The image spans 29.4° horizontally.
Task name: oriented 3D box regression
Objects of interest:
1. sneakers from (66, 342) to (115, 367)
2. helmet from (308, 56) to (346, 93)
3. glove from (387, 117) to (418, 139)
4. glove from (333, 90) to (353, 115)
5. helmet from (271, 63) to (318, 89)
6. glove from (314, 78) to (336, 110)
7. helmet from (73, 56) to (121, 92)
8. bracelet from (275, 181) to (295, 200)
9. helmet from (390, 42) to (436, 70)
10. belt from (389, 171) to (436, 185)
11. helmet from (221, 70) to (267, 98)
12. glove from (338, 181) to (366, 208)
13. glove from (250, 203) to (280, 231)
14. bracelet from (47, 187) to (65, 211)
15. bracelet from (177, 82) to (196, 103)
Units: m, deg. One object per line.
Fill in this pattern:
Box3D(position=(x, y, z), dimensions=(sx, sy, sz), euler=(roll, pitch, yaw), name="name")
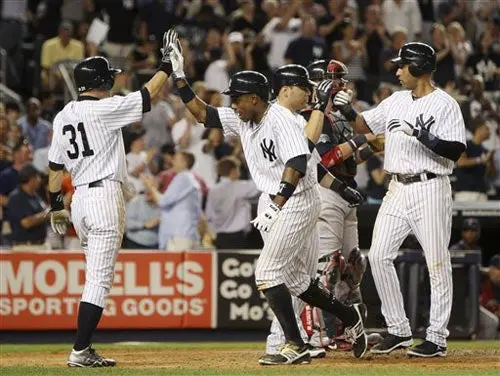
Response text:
Box3D(position=(-1.752, 1.864, 10.497), dimensions=(0.565, 0.233, 0.200), euler=(2, -3, -10), name="sneakers")
Box3D(position=(0.873, -1.365, 11.145), dimensions=(0.431, 0.323, 0.338), euler=(0, 12, 15), name="helmet")
Box3D(position=(1.661, -0.676, 10.427), dimensions=(0.288, 0.179, 0.131), euler=(14, -14, -23), name="glove")
Box3D(position=(1.047, -0.986, 10.781), dimensions=(0.188, 0.248, 0.092), euler=(11, 30, 44), name="glove")
Box3D(position=(0.482, -1.244, 10.407), dimensions=(0.388, 0.182, 0.253), euler=(0, 11, 4), name="helmet")
Box3D(position=(0.820, -1.033, 10.467), dimensions=(0.227, 0.373, 0.103), euler=(18, -16, 20), name="glove")
Box3D(position=(-1.714, -1.291, 10.646), dimensions=(0.510, 0.366, 0.354), euler=(-11, 12, -43), name="helmet")
Box3D(position=(0.370, 0.004, 10.063), dimensions=(0.179, 0.190, 0.187), euler=(27, -10, 15), name="bracelet")
Box3D(position=(1.844, -1.522, 10.853), dimensions=(0.451, 0.228, 0.298), euler=(12, 6, 7), name="helmet")
Box3D(position=(1.830, -0.130, 10.733), dimensions=(0.518, 0.139, 0.143), euler=(-3, -2, 15), name="belt")
Box3D(position=(-0.033, -1.153, 10.396), dimensions=(0.402, 0.202, 0.275), euler=(4, 5, -7), name="helmet")
Box3D(position=(1.120, 0.062, 10.509), dimensions=(0.209, 0.097, 0.297), euler=(47, 7, 28), name="glove")
Box3D(position=(0.156, 0.306, 9.889), dimensions=(0.262, 0.304, 0.085), euler=(41, -4, 16), name="glove")
Box3D(position=(-2.219, 0.102, 10.916), dimensions=(0.216, 0.310, 0.245), euler=(-8, 7, -12), name="bracelet")
Box3D(position=(-0.729, -1.095, 10.731), dimensions=(0.203, 0.214, 0.066), euler=(38, -19, -4), name="bracelet")
